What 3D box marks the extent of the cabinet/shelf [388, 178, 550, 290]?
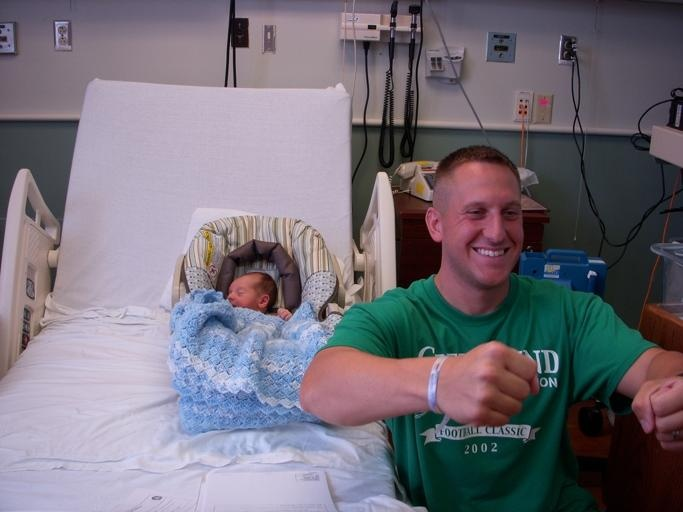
[{"bbox_3d":[0.621,-0.086,2.702,0.627,0.681,0.521,-3,12,-2],"label":"cabinet/shelf"}]
